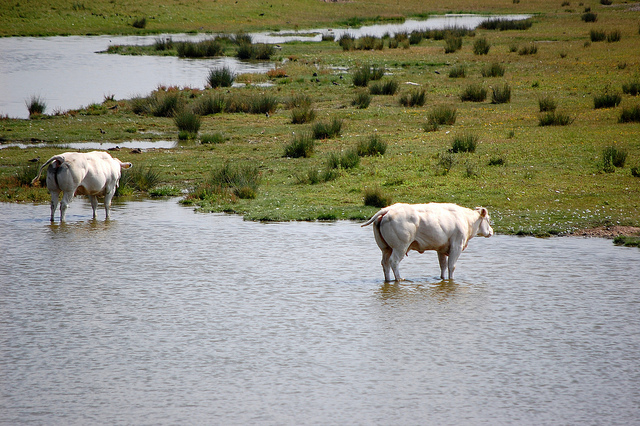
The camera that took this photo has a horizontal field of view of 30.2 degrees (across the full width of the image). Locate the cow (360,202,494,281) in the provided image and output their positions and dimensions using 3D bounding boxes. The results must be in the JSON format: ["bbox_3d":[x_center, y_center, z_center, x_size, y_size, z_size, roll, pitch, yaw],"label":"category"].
[{"bbox_3d":[3.966,1.045,40.399,4.796,2.677,1.512,1,-2,-31],"label":"cow"}]

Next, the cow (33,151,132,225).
[{"bbox_3d":[-8.703,-1.353,43.901,1.545,2.564,5.022,11,10,33],"label":"cow"}]
